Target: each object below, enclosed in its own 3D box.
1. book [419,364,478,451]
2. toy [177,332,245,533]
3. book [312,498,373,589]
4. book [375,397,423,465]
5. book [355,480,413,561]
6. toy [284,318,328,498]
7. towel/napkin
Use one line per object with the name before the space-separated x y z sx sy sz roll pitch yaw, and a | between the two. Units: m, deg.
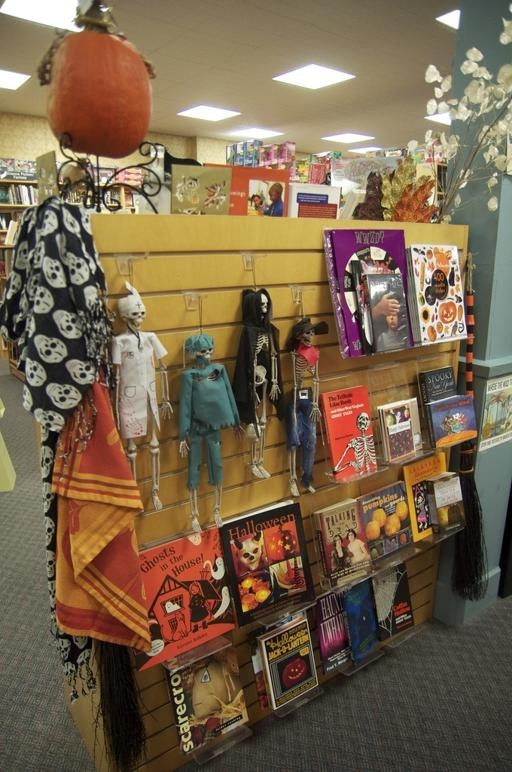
book | 0.839 0.089 2.174 0.297 0.328 0.118 -5 11 -31
toy | -0.131 0.153 1.497 0.158 0.623 0.250 5 10 23
book | 0.348 0.594 1.918 0.260 0.274 0.135 -6 11 -32
book | 0.573 0.184 2.026 0.230 0.220 0.034 -19 13 -42
book | 0.519 0.561 2.056 0.298 0.295 0.040 -27 14 -37
toy | 0.170 0.098 1.739 0.135 0.669 0.209 1 9 4
towel/napkin | -0.383 0.339 1.185 0.237 0.707 0.149 -1 10 -10
